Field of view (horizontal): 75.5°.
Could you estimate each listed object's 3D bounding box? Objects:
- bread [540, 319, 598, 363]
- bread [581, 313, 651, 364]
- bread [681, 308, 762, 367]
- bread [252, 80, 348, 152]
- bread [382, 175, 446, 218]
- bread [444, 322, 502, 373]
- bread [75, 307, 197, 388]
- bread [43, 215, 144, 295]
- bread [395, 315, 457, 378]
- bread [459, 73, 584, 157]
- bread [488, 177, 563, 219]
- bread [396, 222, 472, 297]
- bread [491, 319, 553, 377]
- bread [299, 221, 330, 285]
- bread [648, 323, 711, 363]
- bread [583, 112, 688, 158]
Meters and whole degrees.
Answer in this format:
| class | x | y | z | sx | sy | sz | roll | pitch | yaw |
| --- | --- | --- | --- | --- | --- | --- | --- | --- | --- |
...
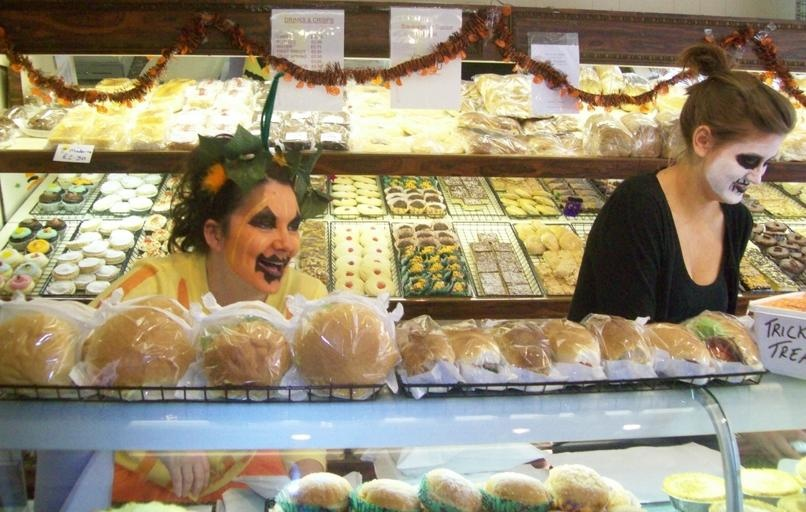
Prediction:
| class | x | y | z | sx | sy | sz | roll | pitch | yaw |
| --- | --- | --- | --- | --- | --- | --- | --- | --- | --- |
| bread | 0.517 | 0.250 | 1.621 | 0.138 | 0.104 | 0.147 | -9 | 12 | -17 |
| bread | 0.661 | 0.245 | 1.646 | 0.199 | 0.116 | 0.195 | -2 | 12 | -11 |
| bread | 1.041 | 0.269 | 1.686 | 0.166 | 0.050 | 0.170 | 5 | 40 | -8 |
| bread | -0.549 | -0.809 | 2.893 | 0.680 | 0.156 | 0.597 | 4 | 54 | -8 |
| bread | 0.075 | -0.493 | 4.198 | 0.437 | 0.120 | 0.399 | 1 | 36 | -6 |
| bread | 0.208 | 0.265 | 1.563 | 0.116 | 0.042 | 0.146 | 7 | 39 | -14 |
| bread | -0.724 | 0.225 | 1.560 | 0.359 | 0.186 | 0.256 | 6 | 13 | 31 |
| bread | -2.150 | 0.025 | 3.639 | 0.404 | 0.098 | 0.623 | 8 | 52 | 0 |
| bread | 0.064 | 0.276 | 1.603 | 0.190 | 0.131 | 0.176 | -2 | 13 | 3 |
| bread | 0.804 | -0.877 | 3.550 | 0.826 | 0.162 | 0.744 | 1 | 59 | -4 |
| bread | 0.985 | -0.472 | 4.283 | 0.373 | 0.072 | 0.548 | 1 | 34 | -9 |
| bread | 0.190 | 0.015 | 3.682 | 0.392 | 0.173 | 0.575 | -1 | 35 | -5 |
| bread | 0.363 | 0.282 | 1.611 | 0.165 | 0.119 | 0.183 | -3 | 10 | 4 |
| bread | -0.609 | -0.008 | 3.527 | 0.219 | 0.136 | 0.590 | 2 | 50 | -11 |
| bread | 0.869 | 0.279 | 1.650 | 0.183 | 0.092 | 0.131 | 1 | 11 | 26 |
| bread | 1.401 | -0.774 | 3.484 | 0.772 | 0.383 | 0.442 | -5 | 14 | -16 |
